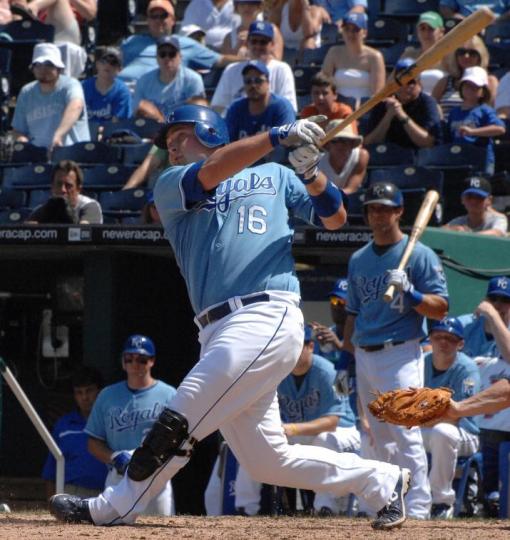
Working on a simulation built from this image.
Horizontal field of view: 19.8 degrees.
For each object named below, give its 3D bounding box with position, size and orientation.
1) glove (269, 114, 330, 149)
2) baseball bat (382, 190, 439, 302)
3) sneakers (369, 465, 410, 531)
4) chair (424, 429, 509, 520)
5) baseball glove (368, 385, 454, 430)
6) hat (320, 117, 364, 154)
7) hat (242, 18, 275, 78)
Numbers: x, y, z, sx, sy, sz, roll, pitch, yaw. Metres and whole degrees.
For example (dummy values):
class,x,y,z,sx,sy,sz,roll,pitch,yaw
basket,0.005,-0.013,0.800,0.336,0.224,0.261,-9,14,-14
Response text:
class,x,y,z,sx,sy,sz,roll,pitch,yaw
glove,0.199,-0.739,7.473,0.248,0.178,0.278,7,14,35
baseball bat,0.949,-0.146,8.874,0.111,0.130,0.948,20,51,14
sneakers,0.737,1.207,7.731,0.168,0.381,0.132,27,-17,-30
chair,1.230,1.240,9.178,0.515,0.683,0.537,6,-21,-14
baseball glove,0.851,0.676,7.846,0.392,0.222,0.626,-1,6,27
hat,0.649,-1.046,10.923,0.306,0.198,0.384,-13,-12,1
hat,0.034,-1.855,12.048,0.303,0.521,0.263,-1,17,-2
